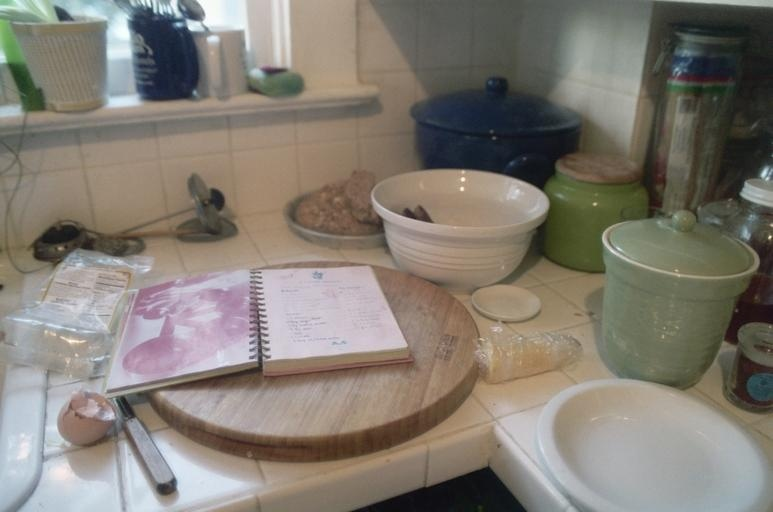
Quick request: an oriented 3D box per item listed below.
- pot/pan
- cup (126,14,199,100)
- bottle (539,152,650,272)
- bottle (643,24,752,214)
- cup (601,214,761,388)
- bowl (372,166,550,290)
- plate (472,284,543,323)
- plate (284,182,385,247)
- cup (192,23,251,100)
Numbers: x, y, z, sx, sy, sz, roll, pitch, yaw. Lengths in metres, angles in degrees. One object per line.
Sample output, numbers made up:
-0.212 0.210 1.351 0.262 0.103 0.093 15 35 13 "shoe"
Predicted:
0.279 -0.308 1.464 0.364 0.233 0.320 0 21 -2 "pot/pan"
-0.562 -0.519 1.498 0.142 0.233 0.170 37 46 23 "cup"
0.533 -0.111 1.495 0.260 0.240 0.255 -15 24 -28 "bottle"
0.700 -0.303 1.354 0.160 0.403 0.133 15 32 25 "bottle"
0.538 0.067 1.131 0.264 0.322 0.251 -2 26 1 "cup"
0.170 -0.075 1.361 0.340 0.177 0.323 2 28 -1 "bowl"
0.267 0.105 1.325 0.147 0.021 0.134 14 30 26 "plate"
-0.156 -0.082 1.553 0.288 0.088 0.141 18 32 32 "plate"
-0.438 -0.497 1.530 0.133 0.169 0.197 4 20 6 "cup"
